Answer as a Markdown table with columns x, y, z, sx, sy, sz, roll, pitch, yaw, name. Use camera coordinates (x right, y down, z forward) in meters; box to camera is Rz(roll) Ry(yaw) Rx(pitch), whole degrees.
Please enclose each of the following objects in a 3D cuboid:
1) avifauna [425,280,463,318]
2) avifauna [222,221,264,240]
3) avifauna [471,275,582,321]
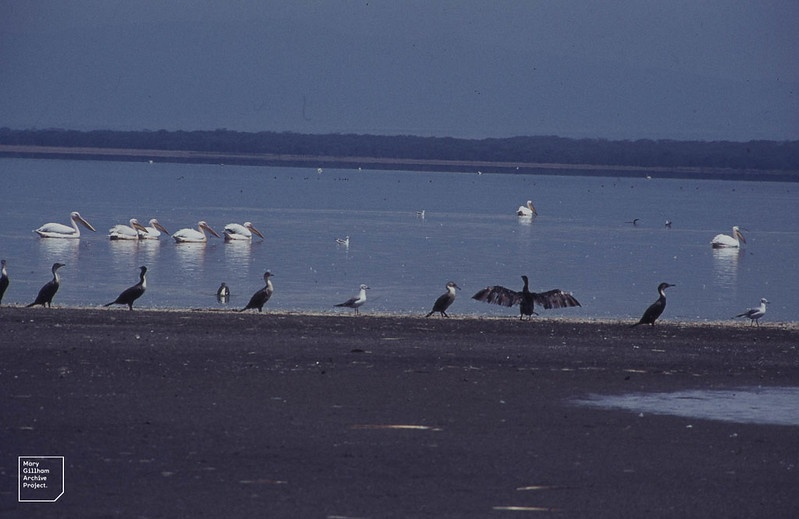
| x | y | z | sx | sy | sz | roll | pitch | yaw | name |
| --- | --- | --- | --- | --- | --- | --- | --- | --- | --- |
| 1.412 | 1.316 | 53.865 | 1.279 | 1.096 | 0.595 | -6 | -3 | 4 | avifauna |
| -7.501 | -1.285 | 77.654 | 2.073 | 0.943 | 0.873 | 5 | 11 | 8 | avifauna |
| 4.165 | 1.184 | 54.346 | 3.234 | 1.669 | 1.554 | 1 | -16 | 7 | avifauna |
